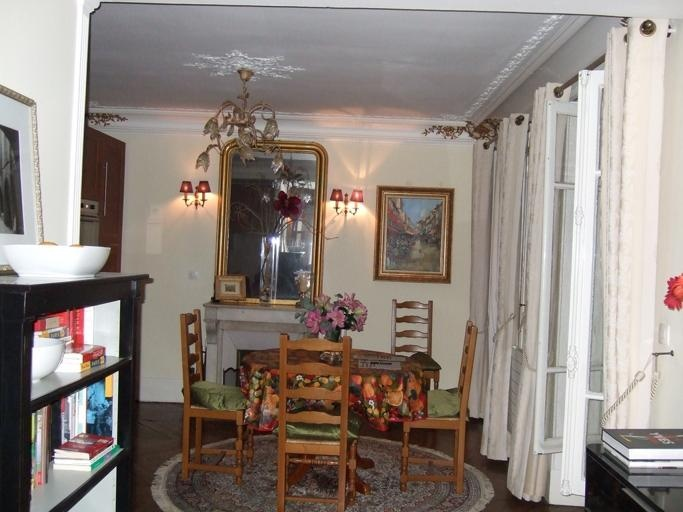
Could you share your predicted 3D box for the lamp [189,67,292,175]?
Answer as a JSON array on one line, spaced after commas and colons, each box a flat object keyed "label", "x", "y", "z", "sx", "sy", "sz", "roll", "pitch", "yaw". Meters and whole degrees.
[{"label": "lamp", "x": -0.928, "y": -1.264, "z": 5.403, "sx": 0.778, "sy": 1.034, "sz": 0.901, "roll": 0, "pitch": 13, "yaw": -9}]

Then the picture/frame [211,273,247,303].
[{"label": "picture/frame", "x": -1.175, "y": 0.338, "z": 6.181, "sx": 0.273, "sy": 0.271, "sz": 0.102, "roll": 1, "pitch": -4, "yaw": -5}]

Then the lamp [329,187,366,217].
[{"label": "lamp", "x": 0.055, "y": -0.563, "z": 6.369, "sx": 0.455, "sy": 0.438, "sz": 0.250, "roll": 0, "pitch": -1, "yaw": -7}]

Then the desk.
[{"label": "desk", "x": 0.042, "y": 0.957, "z": 4.246, "sx": 1.133, "sy": 0.815, "sz": 1.195, "roll": 1, "pitch": -7, "yaw": 4}]

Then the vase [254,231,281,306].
[{"label": "vase", "x": -0.774, "y": 0.133, "z": 6.315, "sx": 0.203, "sy": 0.672, "sz": 0.100, "roll": 2, "pitch": 0, "yaw": -8}]

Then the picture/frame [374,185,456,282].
[{"label": "picture/frame", "x": 0.762, "y": -0.233, "z": 6.372, "sx": 0.936, "sy": 1.242, "sz": 0.072, "roll": 0, "pitch": -1, "yaw": 2}]

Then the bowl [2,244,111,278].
[{"label": "bowl", "x": -1.237, "y": 0.021, "z": 2.526, "sx": 0.413, "sy": 0.118, "sz": 0.168, "roll": 2, "pitch": 0, "yaw": -12}]

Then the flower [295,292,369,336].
[{"label": "flower", "x": -0.036, "y": 0.462, "z": 4.637, "sx": 0.449, "sy": 0.341, "sz": 0.473, "roll": 2, "pitch": 0, "yaw": 12}]

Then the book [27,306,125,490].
[{"label": "book", "x": -1.201, "y": 0.636, "z": 2.649, "sx": 0.271, "sy": 0.856, "sz": 0.865, "roll": 0, "pitch": 1, "yaw": -6}]

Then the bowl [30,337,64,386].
[{"label": "bowl", "x": -1.241, "y": 0.443, "z": 2.538, "sx": 0.157, "sy": 0.124, "sz": 0.165, "roll": 4, "pitch": 8, "yaw": -1}]

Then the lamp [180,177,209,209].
[{"label": "lamp", "x": -1.583, "y": -0.673, "z": 6.327, "sx": 0.347, "sy": 0.277, "sz": 0.217, "roll": 2, "pitch": 0, "yaw": -2}]
